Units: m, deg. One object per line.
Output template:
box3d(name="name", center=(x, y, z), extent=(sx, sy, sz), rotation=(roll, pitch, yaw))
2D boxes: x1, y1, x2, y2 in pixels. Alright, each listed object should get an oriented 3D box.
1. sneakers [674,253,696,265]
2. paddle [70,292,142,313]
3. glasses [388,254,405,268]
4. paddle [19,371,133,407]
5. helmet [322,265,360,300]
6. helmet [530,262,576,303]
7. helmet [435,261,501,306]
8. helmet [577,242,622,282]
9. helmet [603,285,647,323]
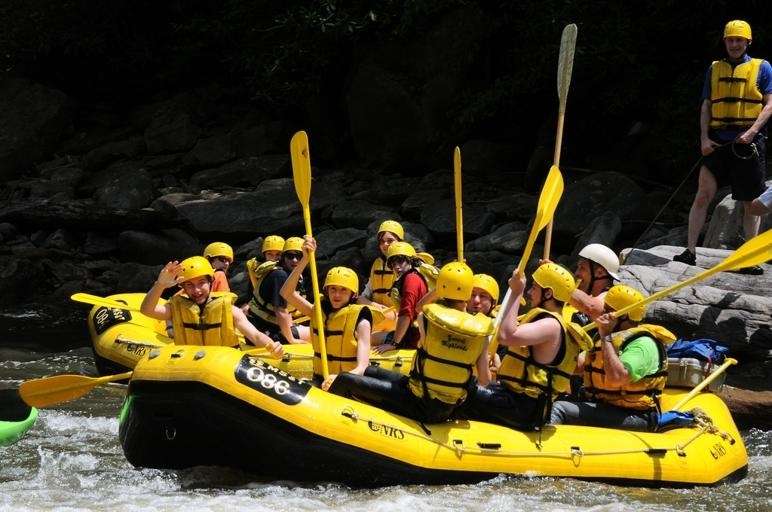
box3d(name="sneakers", center=(4.162, 0.029, 11.881), extent=(0.282, 0.148, 0.133), rotation=(15, 8, 15))
box3d(name="paddle", center=(-4.195, 0.698, 12.767), extent=(1.105, 0.052, 0.255), rotation=(13, 28, 30))
box3d(name="glasses", center=(0.133, 0.073, 11.004), extent=(0.153, 0.097, 0.197), rotation=(-1, -11, 11))
box3d(name="paddle", center=(-3.426, 1.435, 9.700), extent=(0.362, 0.081, 1.576), rotation=(48, 23, 21))
box3d(name="helmet", center=(-0.486, 0.277, 9.750), extent=(0.303, 0.272, 0.381), rotation=(8, 8, 15))
box3d(name="helmet", center=(1.785, 0.239, 9.323), extent=(0.505, 0.361, 0.355), rotation=(24, 7, 2))
box3d(name="helmet", center=(0.877, 0.318, 9.235), extent=(0.404, 0.289, 0.651), rotation=(3, -15, 36))
box3d(name="helmet", center=(2.586, 0.051, 10.265), extent=(0.532, 0.255, 0.359), rotation=(24, -3, 7))
box3d(name="helmet", center=(2.684, 0.493, 9.518), extent=(0.477, 0.248, 0.337), rotation=(27, 11, -3))
